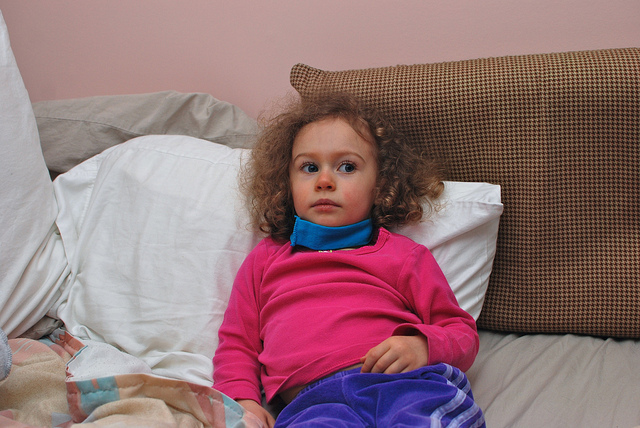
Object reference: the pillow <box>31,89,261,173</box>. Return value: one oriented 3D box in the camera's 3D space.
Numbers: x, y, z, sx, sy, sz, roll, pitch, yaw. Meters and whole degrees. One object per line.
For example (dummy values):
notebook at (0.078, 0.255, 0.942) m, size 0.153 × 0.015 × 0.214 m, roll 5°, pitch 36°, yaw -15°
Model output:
pillow at (-0.558, -0.297, 1.922) m, size 0.423 × 0.139 × 0.382 m, roll -6°, pitch 41°, yaw -19°

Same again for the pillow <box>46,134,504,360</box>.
pillow at (-0.171, 0.141, 1.748) m, size 1.034 × 0.629 × 0.301 m, roll 4°, pitch -8°, yaw -5°
